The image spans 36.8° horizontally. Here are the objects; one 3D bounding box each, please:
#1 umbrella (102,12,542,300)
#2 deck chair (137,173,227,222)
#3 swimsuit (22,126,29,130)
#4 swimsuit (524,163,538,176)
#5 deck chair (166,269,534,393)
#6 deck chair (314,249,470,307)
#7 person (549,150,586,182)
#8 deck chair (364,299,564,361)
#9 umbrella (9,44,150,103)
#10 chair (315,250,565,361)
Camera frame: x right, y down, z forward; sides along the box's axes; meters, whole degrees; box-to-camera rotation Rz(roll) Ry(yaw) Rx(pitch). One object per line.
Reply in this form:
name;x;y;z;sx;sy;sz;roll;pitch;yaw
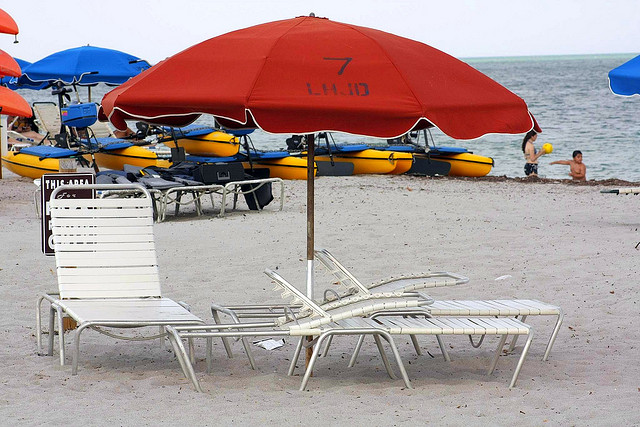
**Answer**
umbrella;-0.091;-0.742;9.626;3.737;1.084;3.493;4;-8;-27
deck chair;-2.257;-0.417;15.651;1.045;0.439;1.321;-4;11;-32
swimsuit;-9.602;-2.743;31.442;0.185;0.077;0.250;1;7;14
swimsuit;5.017;-1.073;23.295;0.498;0.320;0.307;4;8;15
deck chair;0.369;1.058;9.380;4.167;1.020;1.167;0;7;-3
deck chair;0.626;0.587;9.517;1.473;0.372;0.402;-8;15;-5
person;5.790;-1.032;22.509;0.975;0.735;0.528;7;32;40
deck chair;1.474;1.196;9.877;1.737;0.643;2.312;-1;-5;-8
umbrella;-4.818;-2.858;20.129;2.615;1.280;2.144;-7;25;-20
chair;1.142;0.980;9.328;2.322;0.676;0.625;-5;11;-10
